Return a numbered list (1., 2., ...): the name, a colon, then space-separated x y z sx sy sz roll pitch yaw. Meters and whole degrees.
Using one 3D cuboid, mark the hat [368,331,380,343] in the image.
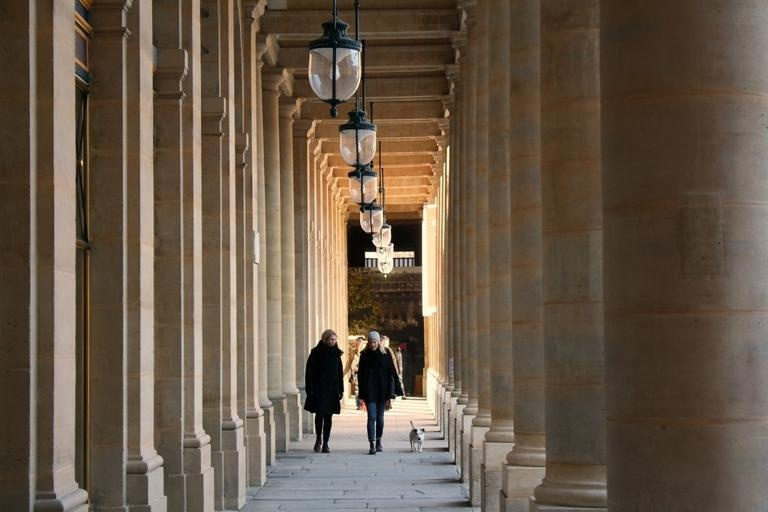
1. hat: -0.174 1.316 21.519 0.143 0.165 0.193 3 -6 -1
